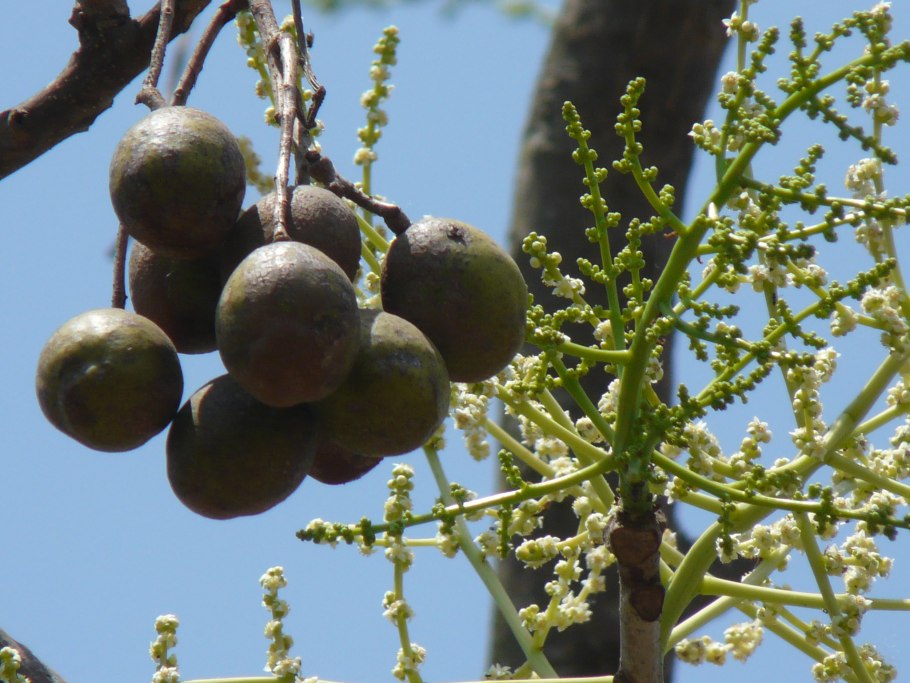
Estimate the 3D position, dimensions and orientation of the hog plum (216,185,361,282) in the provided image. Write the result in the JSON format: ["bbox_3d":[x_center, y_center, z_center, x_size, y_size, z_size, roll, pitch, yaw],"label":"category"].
[{"bbox_3d":[-0.328,-0.209,4.169,0.204,0.254,0.197,16,-25,-9],"label":"hog plum"}]

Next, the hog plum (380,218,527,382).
[{"bbox_3d":[0.001,-0.086,4.207,0.246,0.242,0.320,-43,-102,-3],"label":"hog plum"}]

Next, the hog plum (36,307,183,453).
[{"bbox_3d":[-0.670,0.082,4.058,0.276,0.132,0.240,14,-67,-2],"label":"hog plum"}]

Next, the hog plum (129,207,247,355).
[{"bbox_3d":[-0.536,-0.119,4.118,0.230,0.232,0.303,3,-83,8],"label":"hog plum"}]
